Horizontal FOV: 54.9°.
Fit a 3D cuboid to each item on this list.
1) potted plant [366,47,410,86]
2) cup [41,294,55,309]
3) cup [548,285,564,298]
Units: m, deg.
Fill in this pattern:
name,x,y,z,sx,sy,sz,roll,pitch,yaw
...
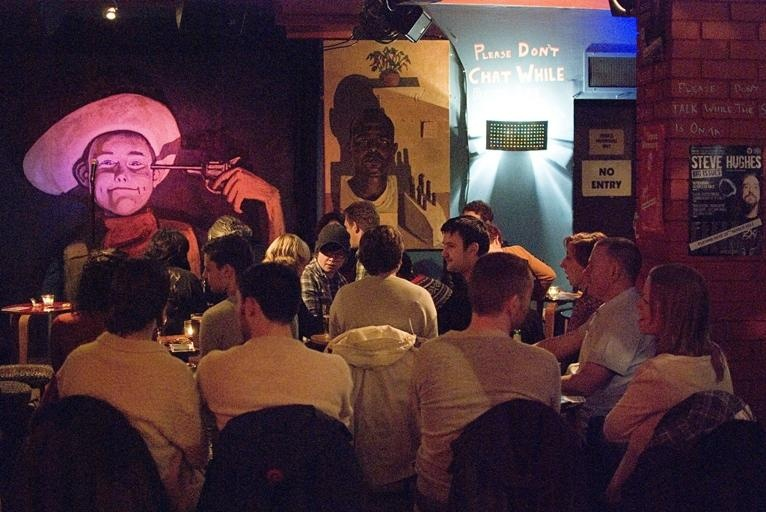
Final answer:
name,x,y,z,sx,sy,sz,roll,pitch,yaw
potted plant,0.045,-2.028,7.892,0.413,0.289,0.410,-1,5,4
cup,-3.236,0.441,7.171,0.131,0.143,0.135,1,4,0
cup,1.721,0.370,7.414,0.147,0.103,0.136,0,6,0
